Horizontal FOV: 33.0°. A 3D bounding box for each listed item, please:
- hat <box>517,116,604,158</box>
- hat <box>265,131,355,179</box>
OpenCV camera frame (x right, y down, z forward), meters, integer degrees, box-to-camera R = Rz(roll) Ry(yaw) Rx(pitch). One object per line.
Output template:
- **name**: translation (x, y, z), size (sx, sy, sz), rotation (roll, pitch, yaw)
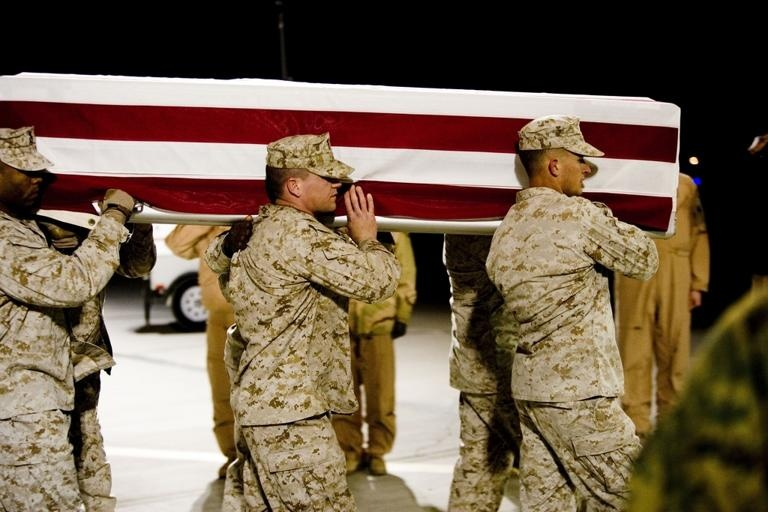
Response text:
- **hat**: translation (1.271, -0.814, 9.214), size (0.655, 0.227, 0.383), rotation (3, -9, 6)
- **hat**: translation (-0.507, -0.722, 9.005), size (0.600, 0.212, 0.349), rotation (8, 27, 7)
